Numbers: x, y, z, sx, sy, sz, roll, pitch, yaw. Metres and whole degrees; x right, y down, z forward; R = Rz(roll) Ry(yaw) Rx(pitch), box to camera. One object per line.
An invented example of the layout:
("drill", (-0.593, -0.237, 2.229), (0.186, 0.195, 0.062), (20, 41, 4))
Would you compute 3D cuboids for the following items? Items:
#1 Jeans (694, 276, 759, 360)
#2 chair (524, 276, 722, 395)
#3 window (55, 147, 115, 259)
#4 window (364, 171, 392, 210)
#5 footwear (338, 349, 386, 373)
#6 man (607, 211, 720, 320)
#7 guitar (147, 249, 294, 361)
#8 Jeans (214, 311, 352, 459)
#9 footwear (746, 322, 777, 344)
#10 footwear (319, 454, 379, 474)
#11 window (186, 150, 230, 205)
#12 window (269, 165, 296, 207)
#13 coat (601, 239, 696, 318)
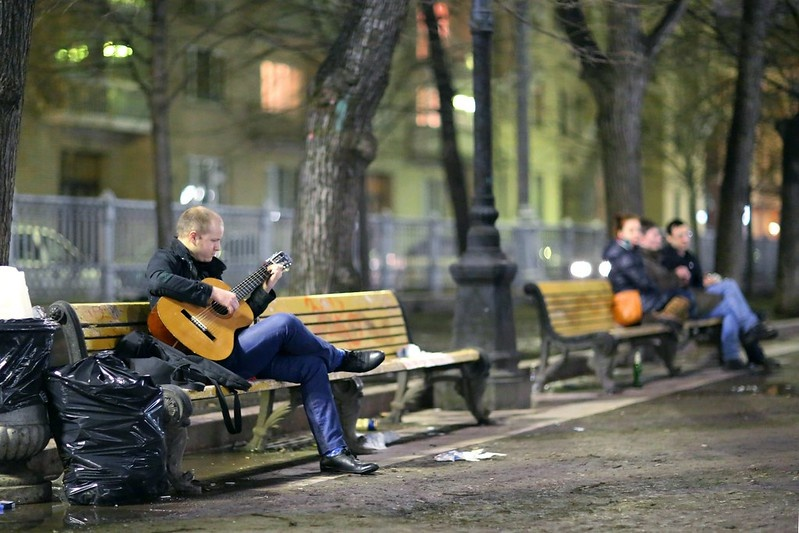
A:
("Jeans", (3.968, 0.615, 19.325), (0.918, 1.247, 0.389), (-5, 27, 19))
("chair", (2.711, 0.724, 19.141), (1.188, 1.244, 3.319), (0, 4, 27))
("window", (-7.657, -1.350, 37.888), (1.319, 2.972, 0.125), (4, 13, 20))
("window", (-0.672, -1.987, 43.697), (1.217, 1.188, 0.111), (6, 7, 42))
("footwear", (-0.388, 0.923, 15.517), (0.518, 0.186, 0.203), (-6, -35, 3))
("man", (3.057, 0.210, 18.932), (1.062, 1.639, 0.803), (-6, -21, 21))
("guitar", (-1.726, 0.418, 14.983), (0.232, 0.709, 1.466), (-47, -1, 43))
("Jeans", (-1.031, 1.120, 15.834), (1.471, 1.656, 1.064), (-13, -4, -14))
("footwear", (4.274, 0.814, 18.890), (0.165, 0.215, 0.484), (1, -14, -38))
("footwear", (-0.530, 1.917, 15.106), (0.617, 0.242, 0.203), (-1, -1, 6))
("window", (-4.343, -1.911, 35.243), (0.031, 1.157, 1.194), (-7, 2, 25))
("window", (-2.990, -1.989, 39.826), (1.066, 1.037, 0.126), (0, 4, 26))
("coat", (2.928, 0.105, 18.912), (0.937, 1.378, 0.654), (-8, 7, -9))
